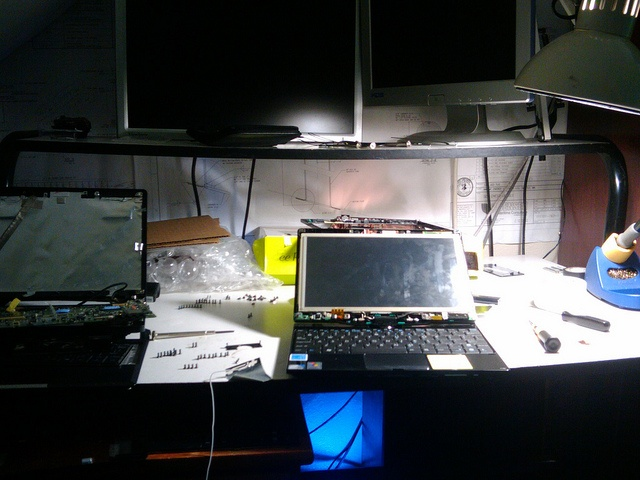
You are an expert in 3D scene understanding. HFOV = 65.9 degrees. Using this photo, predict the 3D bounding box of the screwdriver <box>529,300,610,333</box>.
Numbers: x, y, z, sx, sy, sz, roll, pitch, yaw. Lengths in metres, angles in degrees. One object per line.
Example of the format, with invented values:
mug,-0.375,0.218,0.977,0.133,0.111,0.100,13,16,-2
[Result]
screwdriver,0.684,0.211,1.371,0.034,0.036,0.228,3,6,-33

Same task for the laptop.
laptop,0.173,0.127,1.235,0.484,0.288,0.405,0,10,-2
